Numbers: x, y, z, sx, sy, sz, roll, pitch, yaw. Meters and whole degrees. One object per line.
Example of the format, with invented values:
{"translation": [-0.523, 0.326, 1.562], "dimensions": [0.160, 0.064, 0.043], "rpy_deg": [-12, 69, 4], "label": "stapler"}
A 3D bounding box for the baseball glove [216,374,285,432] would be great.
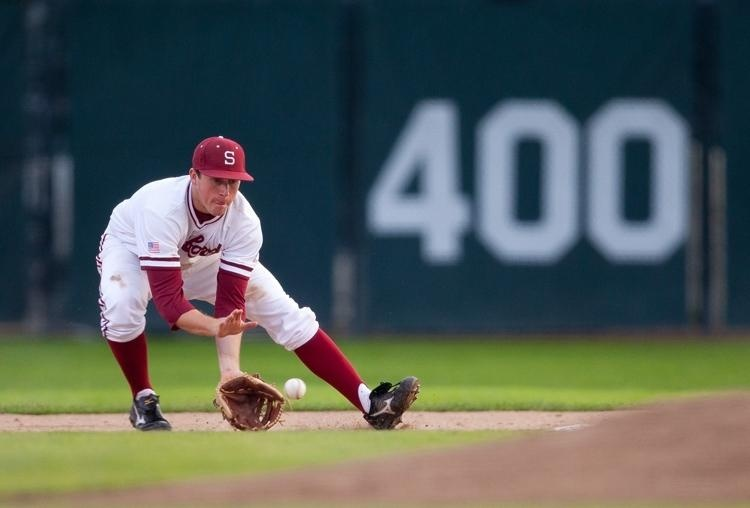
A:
{"translation": [-0.850, 1.060, 9.358], "dimensions": [0.425, 0.400, 0.201], "rpy_deg": [-34, -26, 21], "label": "baseball glove"}

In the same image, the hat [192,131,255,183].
{"translation": [-1.068, -0.678, 9.191], "dimensions": [0.395, 0.205, 0.278], "rpy_deg": [21, 14, 40], "label": "hat"}

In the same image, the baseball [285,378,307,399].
{"translation": [-0.580, 0.958, 9.689], "dimensions": [0.154, 0.142, 0.148], "rpy_deg": [1, 2, 8], "label": "baseball"}
